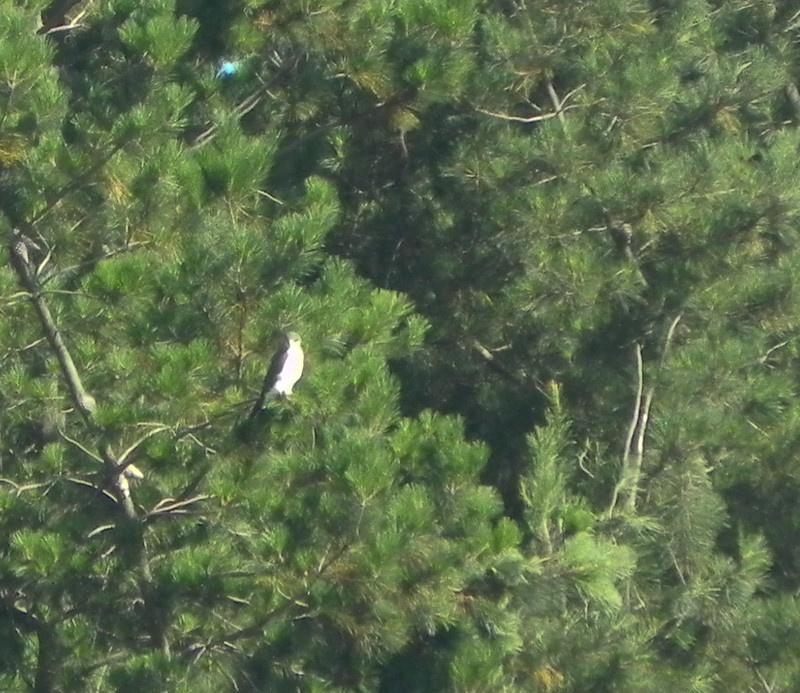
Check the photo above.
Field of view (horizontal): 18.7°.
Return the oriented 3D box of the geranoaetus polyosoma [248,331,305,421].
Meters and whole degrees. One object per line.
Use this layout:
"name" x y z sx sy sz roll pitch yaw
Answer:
"geranoaetus polyosoma" -0.856 0.240 16.990 0.263 0.486 0.369 20 38 27
